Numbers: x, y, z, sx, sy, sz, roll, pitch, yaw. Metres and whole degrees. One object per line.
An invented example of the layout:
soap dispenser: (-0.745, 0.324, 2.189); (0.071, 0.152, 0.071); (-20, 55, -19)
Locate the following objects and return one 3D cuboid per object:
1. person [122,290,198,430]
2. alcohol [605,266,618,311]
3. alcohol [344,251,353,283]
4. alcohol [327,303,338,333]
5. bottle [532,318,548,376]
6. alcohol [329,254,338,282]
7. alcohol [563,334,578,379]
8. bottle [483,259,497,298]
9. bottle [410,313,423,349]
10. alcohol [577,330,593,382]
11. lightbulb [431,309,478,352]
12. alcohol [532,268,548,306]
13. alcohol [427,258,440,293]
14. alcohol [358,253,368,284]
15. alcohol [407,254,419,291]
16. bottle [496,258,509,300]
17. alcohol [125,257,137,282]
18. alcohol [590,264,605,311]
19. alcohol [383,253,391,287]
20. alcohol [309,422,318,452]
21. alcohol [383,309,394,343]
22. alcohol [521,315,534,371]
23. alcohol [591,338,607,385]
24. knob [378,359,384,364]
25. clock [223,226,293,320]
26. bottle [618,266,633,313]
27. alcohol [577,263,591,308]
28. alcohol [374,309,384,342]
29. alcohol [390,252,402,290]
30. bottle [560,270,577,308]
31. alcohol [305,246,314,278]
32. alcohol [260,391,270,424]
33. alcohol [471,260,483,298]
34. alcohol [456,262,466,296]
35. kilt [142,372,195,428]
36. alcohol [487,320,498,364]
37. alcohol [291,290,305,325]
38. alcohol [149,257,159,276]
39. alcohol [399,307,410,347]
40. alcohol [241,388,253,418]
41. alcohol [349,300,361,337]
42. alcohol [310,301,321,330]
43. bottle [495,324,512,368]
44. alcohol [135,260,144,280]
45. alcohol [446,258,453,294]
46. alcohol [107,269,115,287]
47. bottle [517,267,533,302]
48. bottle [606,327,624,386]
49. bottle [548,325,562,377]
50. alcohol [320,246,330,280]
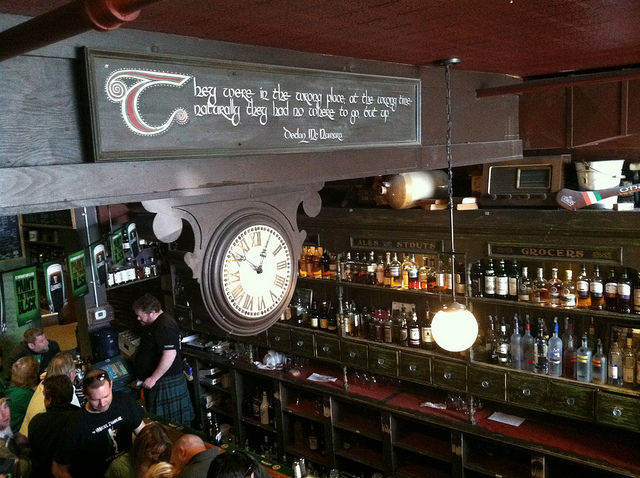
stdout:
person: (-1.800, 1.529, 5.489); (0.728, 1.778, 0.769); (2, 6, 11)
alcohol: (2.345, 0.442, 3.975); (0.093, 0.257, 0.114); (3, 2, 29)
alcohol: (0.316, 0.298, 5.403); (0.089, 0.319, 0.152); (1, 2, -6)
alcohol: (0.142, 0.891, 5.623); (0.109, 0.279, 0.266); (2, 2, 2)
bottle: (1.941, 0.931, 4.345); (0.123, 0.463, 0.263); (2, 2, 22)
alcohol: (0.150, 0.321, 5.511); (0.073, 0.291, 0.257); (1, 2, -4)
alcohol: (2.128, 0.994, 4.188); (0.104, 0.348, 0.133); (2, 2, 27)
bottle: (1.584, 0.361, 4.600); (0.127, 0.322, 0.349); (2, 2, 18)
bottle: (0.982, 0.927, 5.041); (0.125, 0.325, 0.220); (2, 2, 12)
alcohol: (2.209, 0.991, 4.103); (0.111, 0.367, 0.136); (4, 3, 45)
lightbulb: (0.778, 0.530, 2.985); (0.261, 0.255, 0.253); (0, -1, -3)
alcohol: (1.957, 0.413, 4.318); (0.140, 0.316, 0.135); (4, -11, -38)
alcohol: (1.125, 0.356, 4.898); (0.115, 0.312, 0.355); (2, 2, 11)
alcohol: (0.457, 0.312, 5.314); (0.078, 0.313, 0.160); (1, 2, -4)
alcohol: (0.935, 0.333, 4.950); (0.119, 0.363, 0.185); (2, 2, 11)
bottle: (1.680, 0.367, 4.532); (0.113, 0.334, 0.350); (2, 2, 21)
alcohol: (-2.381, 0.389, 6.263); (0.043, 0.300, 0.162); (2, 2, 24)
alcohol: (2.281, 0.393, 4.060); (0.112, 0.360, 0.246); (3, 2, 29)
alcohol: (0.691, 0.314, 5.074); (0.077, 0.336, 0.137); (2, 2, 5)
alcohol: (-0.067, 2.257, 5.632); (0.089, 0.277, 0.172); (2, 2, 1)
alcohol: (0.720, 0.926, 5.182); (0.116, 0.300, 0.142); (2, 2, 7)
alcohol: (1.841, 0.920, 4.372); (0.110, 0.458, 0.122); (2, 2, 21)
alcohol: (2.307, 1.004, 4.069); (0.113, 0.349, 0.154); (3, 2, 31)
knob: (0.623, 1.274, 5.111); (0.048, 0.042, 0.011); (5, -1, 35)
clock: (-0.261, 0.168, 2.240); (0.375, 0.356, 0.369); (10, -14, -41)
bottle: (2.471, 0.406, 3.991); (0.107, 0.339, 0.357); (3, 2, 31)
alcohol: (2.209, 0.392, 4.126); (0.103, 0.350, 0.225); (3, 2, 27)
alcohol: (0.628, 0.912, 5.203); (0.096, 0.319, 0.114); (1, 2, -19)
alcohol: (0.786, 0.321, 5.101); (0.126, 0.355, 0.369); (2, 2, 8)
bottle: (2.139, 0.413, 4.248); (0.134, 0.301, 0.339); (2, 2, 26)
alcohol: (-0.121, 0.257, 5.714); (0.114, 0.341, 0.095); (2, 2, 5)
alcohol: (-0.658, 2.008, 5.892); (0.116, 0.380, 0.056); (2, 2, 21)
alcohol: (1.476, 0.375, 4.637); (0.104, 0.309, 0.347); (2, 2, 18)
alcohol: (1.319, 0.377, 4.620); (0.058, 0.302, 0.128); (1, 2, -2)
kilt: (-1.655, 1.721, 5.522); (0.455, 0.611, 0.494); (-3, 8, -38)
alcohol: (1.569, 0.941, 4.519); (0.093, 0.373, 0.099); (1, 2, -11)
alcohol: (-0.264, 0.808, 5.915); (0.157, 0.365, 0.271); (1, 2, -3)
alcohol: (-2.158, 0.383, 6.439); (0.120, 0.206, 0.051); (-9, 2, -29)
alcohol: (0.883, 0.906, 5.138); (0.101, 0.355, 0.294); (2, 2, 9)
alcohol: (-0.899, 2.013, 6.072); (0.132, 0.348, 0.070); (1, 2, -8)
alcohol: (0.384, 0.915, 5.407); (0.129, 0.277, 0.162); (2, 2, 3)
alcohol: (-0.053, 0.890, 5.750); (0.123, 0.259, 0.352); (1, 2, -1)
bottle: (1.676, 0.961, 4.509); (0.148, 0.388, 0.224); (2, 2, 18)
alcohol: (-2.312, 0.408, 6.330); (0.051, 0.202, 0.147); (-11, 10, 12)
alcohol: (1.226, 0.363, 4.705); (0.039, 0.305, 0.074); (1, 2, -8)
alcohol: (-2.571, 0.475, 6.077); (0.056, 0.218, 0.111); (3, 2, 27)
bottle: (1.828, 0.394, 4.400); (0.130, 0.297, 0.272); (2, 2, 22)
bottle: (2.414, 0.961, 4.030); (0.126, 0.432, 0.196); (3, 2, 30)
bottle: (2.024, 0.943, 4.228); (0.120, 0.441, 0.164); (2, 2, 18)
alcohol: (0.064, 0.270, 5.659); (0.094, 0.321, 0.168); (0, 2, -27)
